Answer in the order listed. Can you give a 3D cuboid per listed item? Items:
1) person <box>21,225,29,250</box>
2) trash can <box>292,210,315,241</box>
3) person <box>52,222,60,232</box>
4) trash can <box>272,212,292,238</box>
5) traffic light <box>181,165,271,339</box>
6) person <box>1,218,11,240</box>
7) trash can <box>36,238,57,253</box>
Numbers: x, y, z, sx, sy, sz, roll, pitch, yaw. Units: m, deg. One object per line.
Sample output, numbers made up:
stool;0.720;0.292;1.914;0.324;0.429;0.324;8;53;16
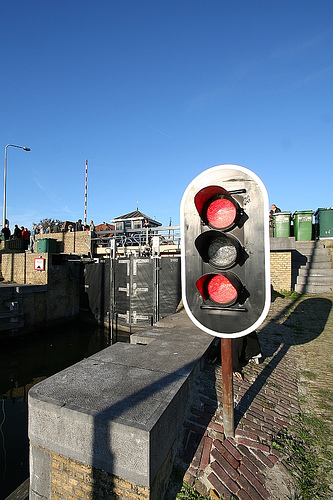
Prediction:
person;-7.175;-0.591;18.132;0.335;1.149;1.295;1;-1;-23
trash can;6.108;-1.078;15.959;1.035;1.477;1.178;-4;5;-5
person;-6.570;-1.490;21.041;0.410;0.832;0.808;-1;4;-9
trash can;4.877;-1.119;15.319;0.677;1.062;0.747;0;-1;16
traffic light;0.424;0.026;2.759;0.696;1.374;0.421;0;-1;10
person;-8.273;-1.053;18.356;0.403;1.070;1.844;1;0;-25
trash can;-5.143;-0.185;15.122;0.547;0.761;0.729;-2;1;13
